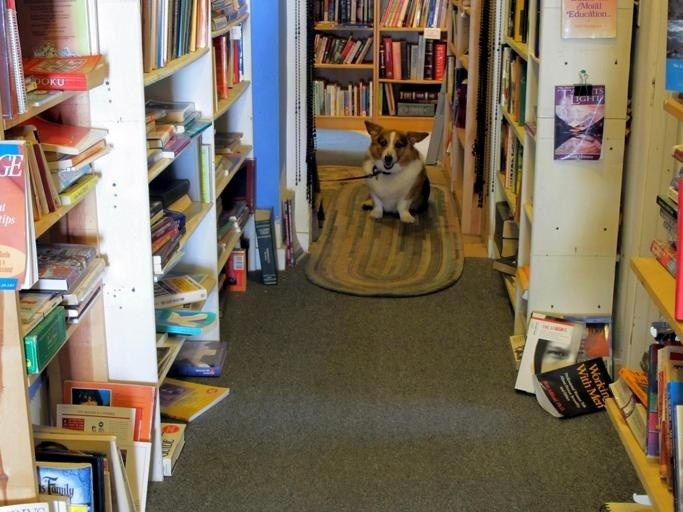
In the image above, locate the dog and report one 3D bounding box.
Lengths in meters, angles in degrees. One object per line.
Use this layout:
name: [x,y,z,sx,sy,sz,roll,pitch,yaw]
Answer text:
dog: [0.468,-0.768,4.966,0.537,0.824,0.839,11,25,21]
